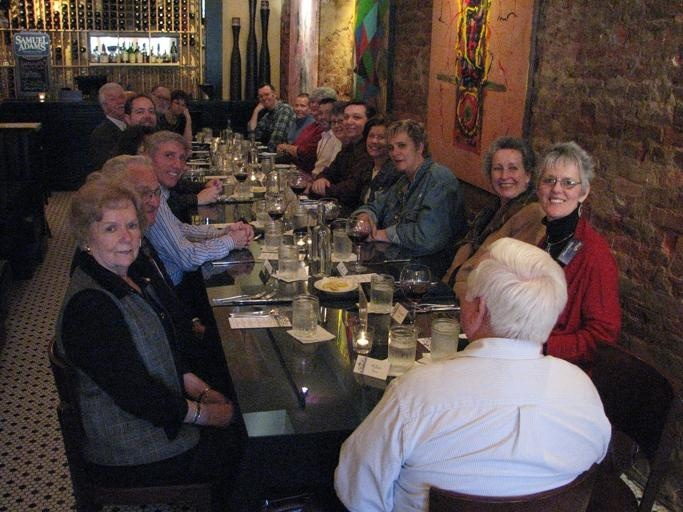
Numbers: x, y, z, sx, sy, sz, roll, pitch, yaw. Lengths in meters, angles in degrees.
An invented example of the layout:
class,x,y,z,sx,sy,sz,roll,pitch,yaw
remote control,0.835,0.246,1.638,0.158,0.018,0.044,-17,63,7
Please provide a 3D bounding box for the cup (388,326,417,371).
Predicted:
class,x,y,z,sx,sy,sz,roll,pitch,yaw
cup,0.190,0.299,1.735,0.098,0.161,0.098,2,-1,0

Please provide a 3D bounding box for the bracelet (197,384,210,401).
class,x,y,z,sx,sy,sz,roll,pitch,yaw
bracelet,-0.536,0.530,2.110,0.034,0.050,0.017,-6,-25,18

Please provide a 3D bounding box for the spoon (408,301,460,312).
class,x,y,z,sx,sy,sz,roll,pitch,yaw
spoon,0.359,0.201,2.120,0.218,0.024,0.065,-4,26,-26

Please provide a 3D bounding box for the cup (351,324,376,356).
class,x,y,z,sx,sy,sz,roll,pitch,yaw
cup,0.069,0.294,1.861,0.085,0.080,0.098,6,-13,-5

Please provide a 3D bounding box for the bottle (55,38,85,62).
class,x,y,z,sx,sy,sz,roll,pitch,yaw
bottle,-4.715,-3.558,9.489,0.428,0.442,0.136,5,4,3

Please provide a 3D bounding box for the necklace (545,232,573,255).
class,x,y,z,sx,sy,sz,roll,pitch,yaw
necklace,0.930,-0.051,2.361,0.099,0.025,0.070,-28,22,-32

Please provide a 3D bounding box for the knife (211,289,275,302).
class,x,y,z,sx,sy,sz,roll,pitch,yaw
knife,-0.392,0.162,2.181,0.245,0.038,0.077,-3,18,1

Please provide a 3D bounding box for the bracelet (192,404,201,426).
class,x,y,z,sx,sy,sz,roll,pitch,yaw
bracelet,-0.499,0.546,1.884,0.021,0.055,0.046,8,-14,-14

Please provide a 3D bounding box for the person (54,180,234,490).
class,x,y,z,sx,sy,sz,roll,pitch,yaw
person,-0.691,0.248,1.981,0.621,1.009,0.597,-4,4,2

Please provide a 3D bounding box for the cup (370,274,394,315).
class,x,y,z,sx,sy,sz,roll,pitch,yaw
cup,0.161,0.151,2.141,0.111,0.138,0.128,5,1,-10

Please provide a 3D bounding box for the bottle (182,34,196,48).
class,x,y,z,sx,sy,sz,roll,pitch,yaw
bottle,-2.761,-3.896,9.807,0.194,0.050,0.184,-2,-2,0

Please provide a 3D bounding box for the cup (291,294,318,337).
class,x,y,z,sx,sy,sz,roll,pitch,yaw
cup,-0.122,0.210,1.897,0.099,0.118,0.107,1,5,0

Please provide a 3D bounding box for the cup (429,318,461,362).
class,x,y,z,sx,sy,sz,roll,pitch,yaw
cup,0.312,0.269,1.761,0.115,0.180,0.110,0,9,0

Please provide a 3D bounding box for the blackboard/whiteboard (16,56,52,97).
class,x,y,z,sx,sy,sz,roll,pitch,yaw
blackboard/whiteboard,-4.704,-2.748,8.358,0.725,0.577,0.347,12,20,30
